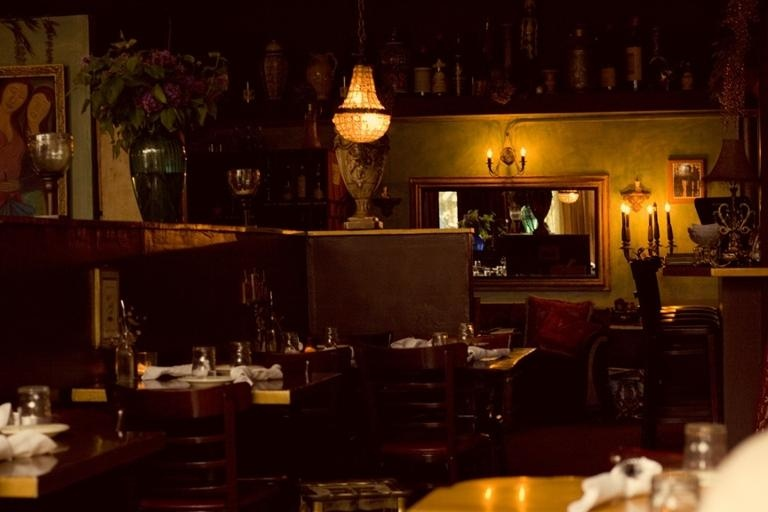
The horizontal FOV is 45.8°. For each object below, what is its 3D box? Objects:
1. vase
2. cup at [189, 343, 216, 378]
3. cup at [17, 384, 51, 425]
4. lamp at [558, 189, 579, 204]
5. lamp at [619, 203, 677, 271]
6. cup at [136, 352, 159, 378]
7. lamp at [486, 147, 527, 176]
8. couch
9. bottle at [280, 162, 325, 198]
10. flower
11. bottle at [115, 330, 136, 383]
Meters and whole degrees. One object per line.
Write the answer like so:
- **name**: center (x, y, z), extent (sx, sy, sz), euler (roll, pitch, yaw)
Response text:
- **vase**: center (-1.139, -0.389, 4.530), extent (0.283, 0.433, 0.251), euler (3, 10, -15)
- **cup**: center (-0.879, 0.524, 4.439), extent (0.126, 0.142, 0.129), euler (1, 0, 0)
- **cup**: center (-1.381, 0.600, 3.642), extent (0.139, 0.145, 0.136), euler (-1, -5, 0)
- **lamp**: center (1.864, -0.593, 9.175), extent (0.146, 0.126, 0.146), euler (1, -2, 0)
- **lamp**: center (2.494, -0.178, 8.518), extent (0.656, 0.822, 0.451), euler (-1, 0, 24)
- **cup**: center (-1.181, 0.541, 4.534), extent (0.111, 0.105, 0.108), euler (0, -6, 0)
- **lamp**: center (1.233, -0.948, 9.044), extent (0.280, 0.216, 0.102), euler (0, -5, 4)
- **couch**: center (1.606, 0.959, 8.316), extent (1.185, 1.416, 1.100), euler (0, -9, 12)
- **bottle**: center (-0.748, -0.704, 8.508), extent (0.341, 0.314, 0.116), euler (0, -1, 6)
- **flower**: center (-1.202, -0.803, 4.591), extent (0.686, 0.553, 0.406), euler (4, 9, -12)
- **bottle**: center (-1.246, 0.493, 4.368), extent (0.101, 0.225, 0.249), euler (3, 10, -17)
